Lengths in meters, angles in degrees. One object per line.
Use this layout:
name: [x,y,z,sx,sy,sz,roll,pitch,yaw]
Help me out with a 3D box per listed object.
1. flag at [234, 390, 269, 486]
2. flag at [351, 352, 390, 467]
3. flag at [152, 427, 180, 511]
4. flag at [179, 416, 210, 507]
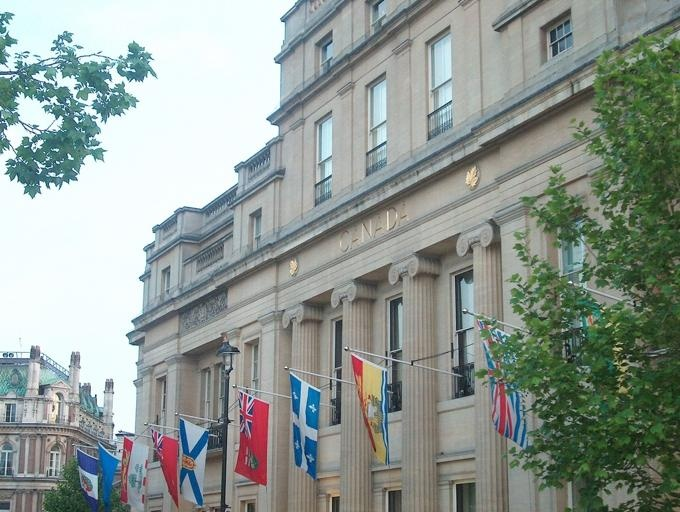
flag: [-2.660,5.498,36.919,1.017,2.719,1.055,-2,-22,-6]
flag: [0.944,4.001,31.994,1.110,3.017,0.967,-14,-24,22]
flag: [-5.871,7.171,41.198,0.665,2.818,1.524,4,-24,-20]
flag: [-4.738,6.547,38.860,0.650,2.880,1.727,10,-27,-32]
